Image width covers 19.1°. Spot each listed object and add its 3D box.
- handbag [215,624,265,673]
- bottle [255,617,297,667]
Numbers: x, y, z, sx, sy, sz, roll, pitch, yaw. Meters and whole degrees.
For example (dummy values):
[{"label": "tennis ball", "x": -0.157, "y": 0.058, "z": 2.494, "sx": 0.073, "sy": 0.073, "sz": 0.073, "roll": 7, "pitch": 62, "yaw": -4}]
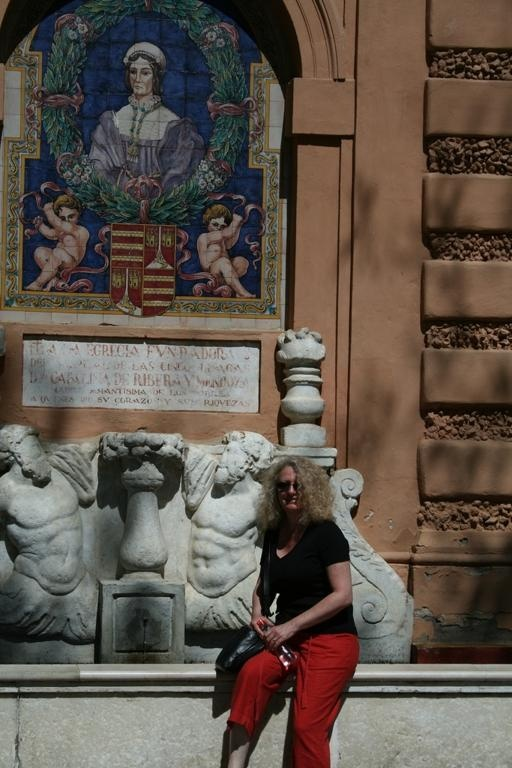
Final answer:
[{"label": "handbag", "x": -0.085, "y": 1.198, "z": 6.850, "sx": 0.078, "sy": 0.224, "sz": 0.171, "roll": 31, "pitch": 14, "yaw": -29}, {"label": "bottle", "x": 0.076, "y": 1.159, "z": 6.768, "sx": 0.106, "sy": 0.205, "sz": 0.203, "roll": 1, "pitch": 1, "yaw": -39}]
